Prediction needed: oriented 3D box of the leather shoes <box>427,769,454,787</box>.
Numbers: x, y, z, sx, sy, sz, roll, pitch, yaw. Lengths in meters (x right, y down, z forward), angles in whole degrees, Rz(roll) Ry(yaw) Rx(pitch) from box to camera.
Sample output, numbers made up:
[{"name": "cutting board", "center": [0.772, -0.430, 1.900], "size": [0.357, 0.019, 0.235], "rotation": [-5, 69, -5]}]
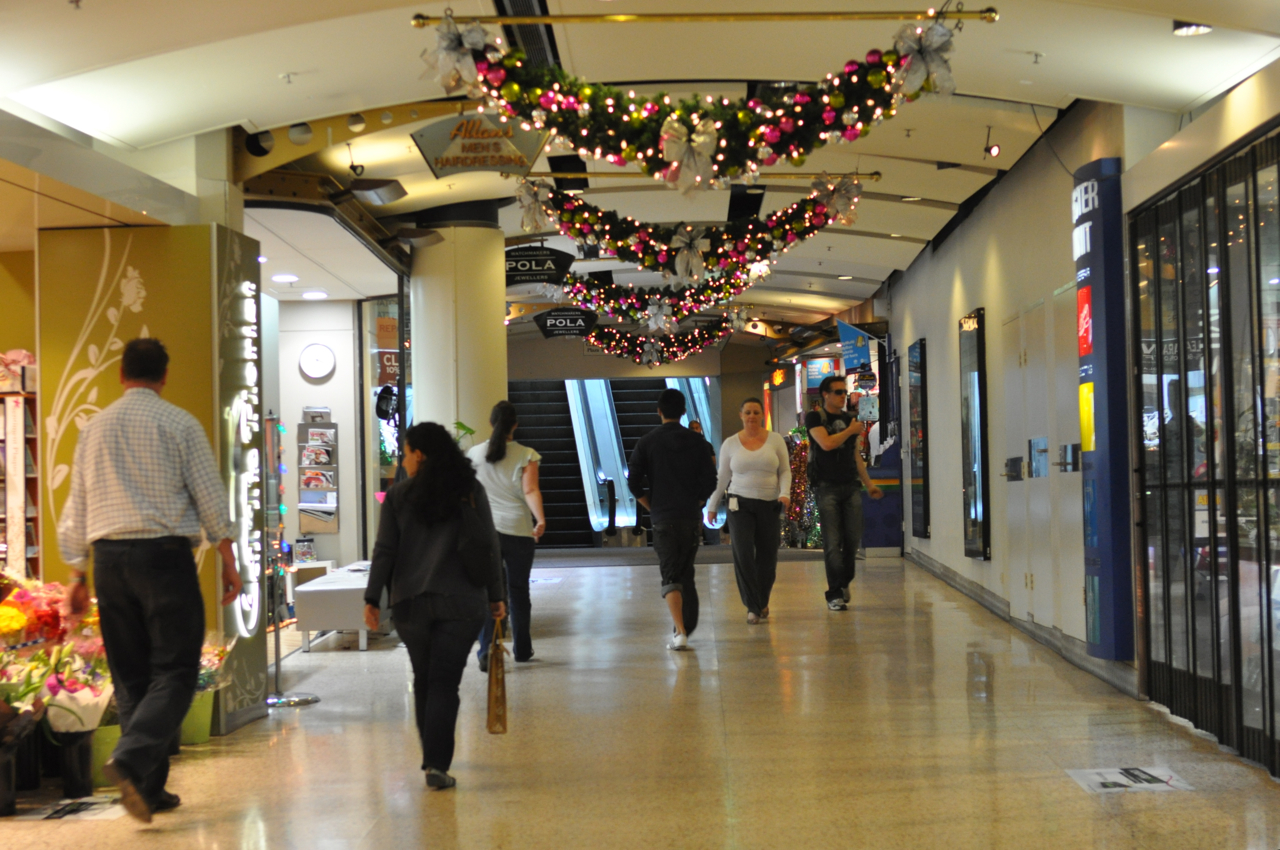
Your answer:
[{"name": "leather shoes", "center": [-1.037, 1.838, 4.844], "size": [0.182, 0.060, 0.084], "rotation": [26, -13, -34]}]

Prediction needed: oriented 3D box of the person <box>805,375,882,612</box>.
[{"name": "person", "center": [2.120, 0.721, 9.826], "size": [0.554, 2.463, 0.566], "rotation": [-4, -4, 42]}]

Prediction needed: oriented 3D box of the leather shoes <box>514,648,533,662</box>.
[{"name": "leather shoes", "center": [-0.974, 1.922, 7.826], "size": [0.137, 0.083, 0.078], "rotation": [3, -5, -1]}]

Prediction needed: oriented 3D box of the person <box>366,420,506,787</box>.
[{"name": "person", "center": [-1.080, 0.939, 4.954], "size": [0.676, 1.904, 0.240], "rotation": [-1, -3, -6]}]

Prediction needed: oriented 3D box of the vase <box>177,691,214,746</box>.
[{"name": "vase", "center": [-2.779, 1.848, 5.933], "size": [0.280, 0.273, 0.264], "rotation": [0, -21, -17]}]

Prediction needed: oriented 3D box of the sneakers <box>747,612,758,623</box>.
[{"name": "sneakers", "center": [1.121, 1.897, 9.267], "size": [0.106, 0.107, 0.280], "rotation": [0, -7, 2]}]

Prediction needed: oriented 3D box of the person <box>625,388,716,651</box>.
[{"name": "person", "center": [0.315, 0.796, 8.186], "size": [0.737, 2.287, 0.639], "rotation": [-2, -3, 5]}]

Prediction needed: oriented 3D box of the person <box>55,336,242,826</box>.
[{"name": "person", "center": [-2.439, 0.739, 4.616], "size": [0.889, 1.825, 0.519], "rotation": [-1, -3, -9]}]

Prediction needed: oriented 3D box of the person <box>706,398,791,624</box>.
[{"name": "person", "center": [1.104, 0.784, 8.912], "size": [0.654, 2.040, 0.704], "rotation": [-2, -3, 8]}]
